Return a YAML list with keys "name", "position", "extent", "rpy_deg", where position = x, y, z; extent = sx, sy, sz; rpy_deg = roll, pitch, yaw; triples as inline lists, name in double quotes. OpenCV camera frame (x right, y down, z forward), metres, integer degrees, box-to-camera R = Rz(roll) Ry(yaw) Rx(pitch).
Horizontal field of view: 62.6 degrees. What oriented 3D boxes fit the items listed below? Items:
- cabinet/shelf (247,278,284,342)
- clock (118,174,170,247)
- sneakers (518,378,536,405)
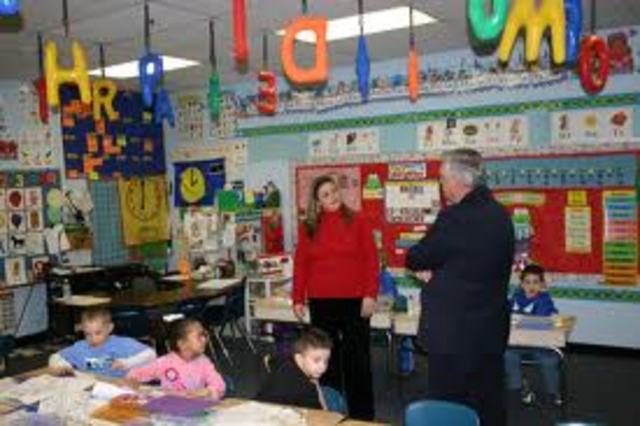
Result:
- name: "cabinet/shelf"
  position: [-0.928, 1.285, 7.325]
  extent: [0.498, 0.688, 0.495]
  rpy_deg: [9, -3, 27]
- name: "clock"
  position: [-3.024, -0.037, 8.896]
  extent: [0.160, 1.555, 1.146]
  rpy_deg: [-6, 0, 41]
- name: "sneakers"
  position: [2.145, 1.871, 5.482]
  extent: [0.109, 0.302, 0.120]
  rpy_deg: [-9, -17, 28]
